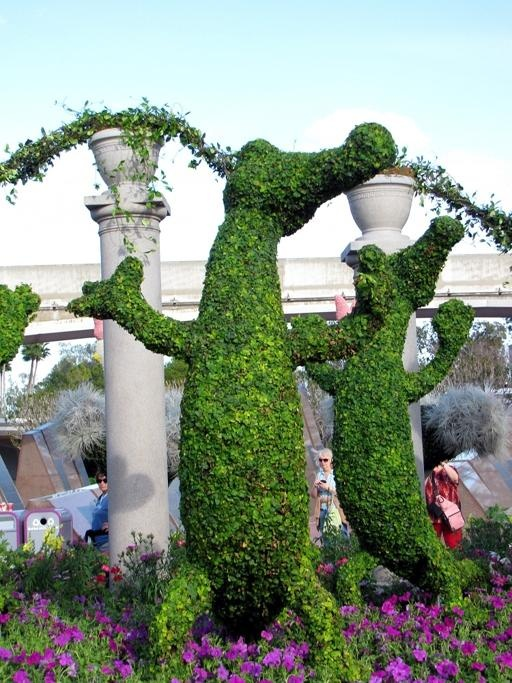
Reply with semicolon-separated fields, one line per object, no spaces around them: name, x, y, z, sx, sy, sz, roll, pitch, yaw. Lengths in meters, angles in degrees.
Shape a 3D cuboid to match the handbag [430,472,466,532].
handbag;1.500;1.272;6.799;0.116;0.328;0.199;-21;-3;-2
